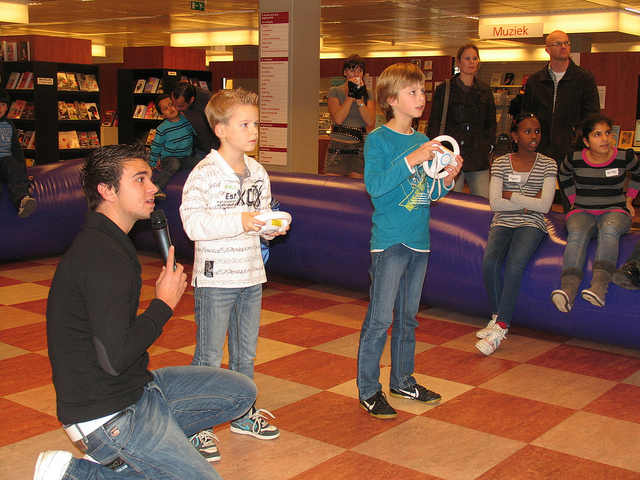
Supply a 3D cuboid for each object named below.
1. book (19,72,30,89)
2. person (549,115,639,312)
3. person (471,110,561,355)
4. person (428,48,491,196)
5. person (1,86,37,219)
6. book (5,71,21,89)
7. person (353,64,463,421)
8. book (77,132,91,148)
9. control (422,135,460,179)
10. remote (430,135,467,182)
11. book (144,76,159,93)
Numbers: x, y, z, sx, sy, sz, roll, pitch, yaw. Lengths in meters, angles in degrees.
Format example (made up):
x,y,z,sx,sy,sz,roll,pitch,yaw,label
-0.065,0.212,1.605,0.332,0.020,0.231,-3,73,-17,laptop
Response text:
x,y,z,sx,sy,sz,roll,pitch,yaw,label
-5.883,-3.148,9.827,0.069,0.288,0.283,24,-2,-28,book
1.930,-0.184,3.488,0.567,1.359,1.045,6,13,26,person
1.413,-0.089,3.584,0.501,1.642,0.923,6,12,24,person
1.424,-0.956,4.817,0.643,1.712,0.427,-3,29,6,person
-3.250,-0.913,5.246,0.295,1.287,0.702,-6,13,-30,person
-6.187,-3.191,9.965,0.363,0.334,0.087,4,-16,35,book
0.453,0.017,2.548,0.481,1.779,0.383,3,12,9,person
-5.028,-2.109,10.496,0.232,0.300,0.304,-1,10,-22,book
0.580,-0.446,2.513,0.220,0.215,0.055,23,11,-48,control
0.633,-0.404,2.495,0.147,0.230,0.363,4,11,15,remote
-3.690,-3.377,10.855,0.356,0.348,0.084,11,-14,32,book
